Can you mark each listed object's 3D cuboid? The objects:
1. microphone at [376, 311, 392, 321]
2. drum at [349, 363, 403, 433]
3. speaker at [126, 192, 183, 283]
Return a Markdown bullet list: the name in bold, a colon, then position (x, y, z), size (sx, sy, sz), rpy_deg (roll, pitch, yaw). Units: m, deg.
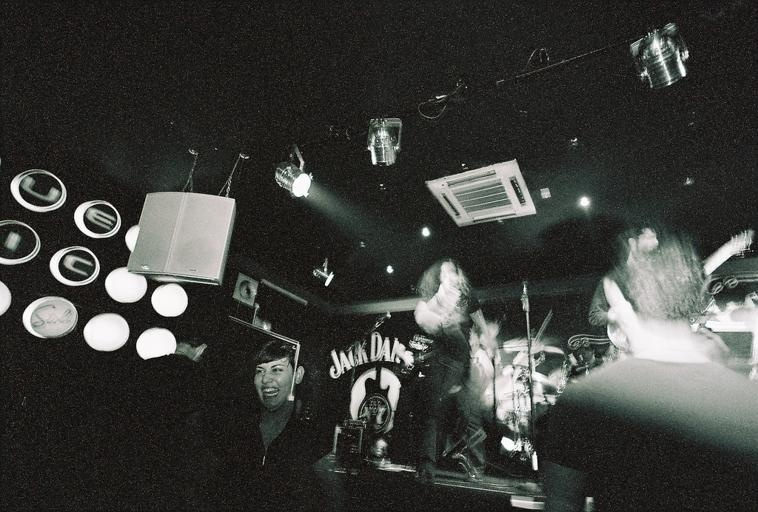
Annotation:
- **microphone**: position (0.048, 0.528, 5.605), size (0.139, 0.083, 0.084), rpy_deg (-6, -45, 13)
- **drum**: position (-0.040, 1.199, 5.452), size (0.404, 0.560, 0.148), rpy_deg (2, -11, 28)
- **speaker**: position (-1.466, -0.139, 4.207), size (0.297, 0.581, 0.193), rpy_deg (4, -6, -21)
